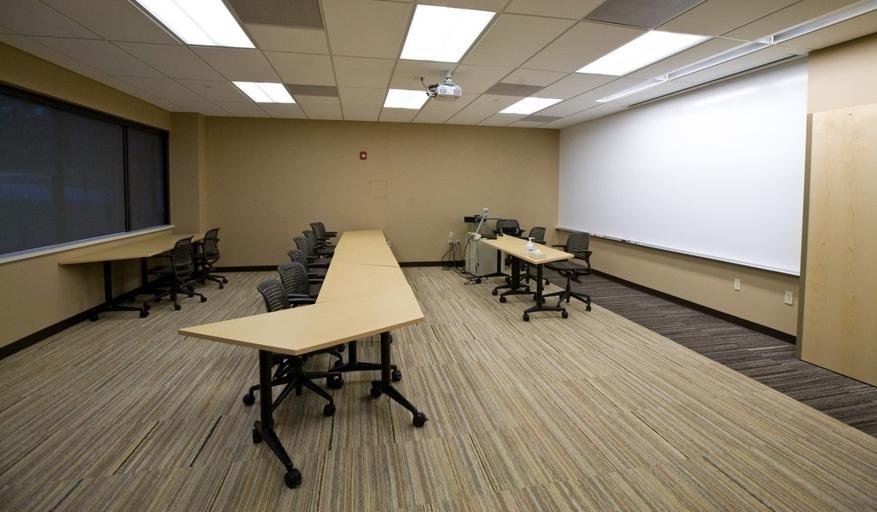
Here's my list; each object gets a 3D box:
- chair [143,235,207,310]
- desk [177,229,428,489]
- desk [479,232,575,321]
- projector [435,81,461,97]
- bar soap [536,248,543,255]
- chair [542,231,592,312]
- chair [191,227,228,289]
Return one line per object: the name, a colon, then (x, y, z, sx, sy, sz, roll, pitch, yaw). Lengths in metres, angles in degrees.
chair: (-4.696, 0.252, 8.264, 1.234, 1.132, 1.211, -3, 4, -18)
desk: (-1.297, 1.202, 6.441, 2.231, 1.944, 3.315, 2, 11, 5)
desk: (1.577, 0.406, 8.658, 0.816, 1.008, 2.117, 14, 1, -4)
projector: (0.166, -2.498, 7.072, 0.328, 0.264, 0.350, 3, 11, 12)
bar soap: (1.695, -0.062, 7.912, 0.102, 0.068, 0.122, -1, 3, 0)
chair: (2.331, 0.208, 8.319, 0.776, 1.226, 0.817, -8, 11, -39)
chair: (-4.630, -0.015, 9.180, 0.765, 1.164, 0.910, -1, 8, -4)
